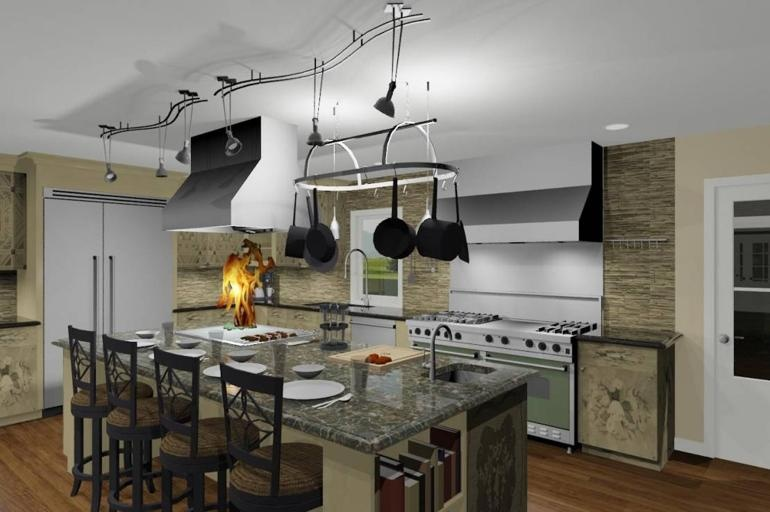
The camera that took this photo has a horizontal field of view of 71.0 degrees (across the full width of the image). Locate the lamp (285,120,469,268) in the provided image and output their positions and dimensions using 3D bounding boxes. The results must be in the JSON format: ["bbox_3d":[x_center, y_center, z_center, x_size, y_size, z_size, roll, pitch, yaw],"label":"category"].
[{"bbox_3d":[-0.116,-0.428,4.256,1.614,1.086,0.577,1,0,43],"label":"lamp"}]
